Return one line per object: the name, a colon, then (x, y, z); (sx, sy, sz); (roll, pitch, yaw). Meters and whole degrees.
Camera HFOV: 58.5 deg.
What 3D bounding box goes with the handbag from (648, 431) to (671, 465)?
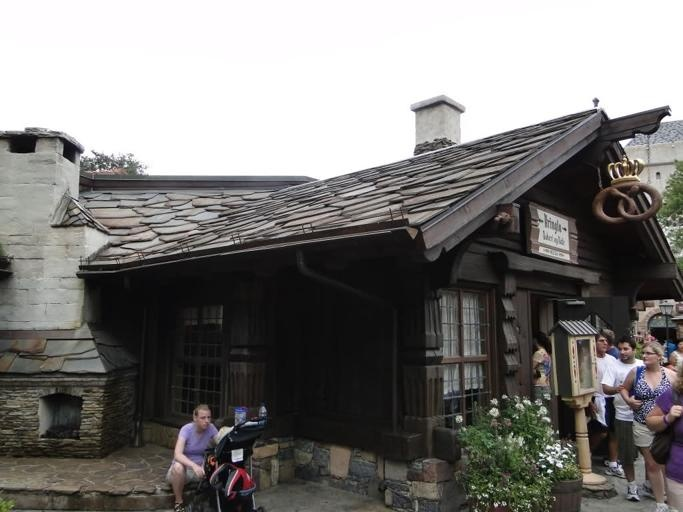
handbag: (3.481, 2.103, 6.706); (0.307, 0.358, 0.172); (1, 7, -15)
